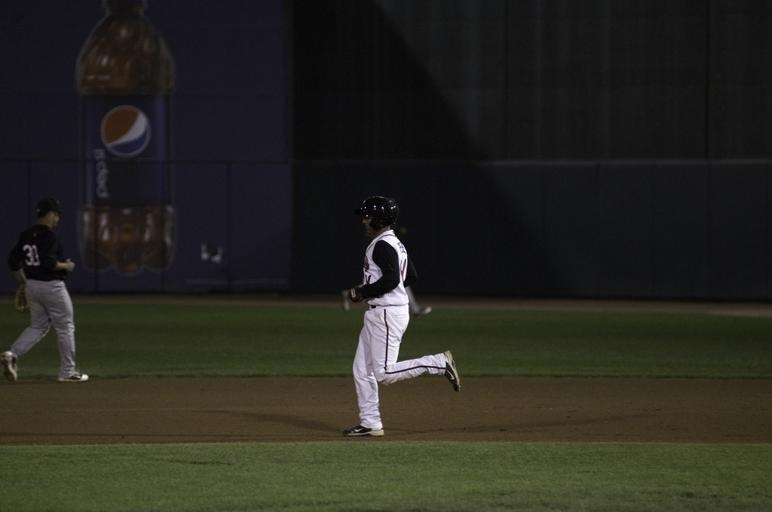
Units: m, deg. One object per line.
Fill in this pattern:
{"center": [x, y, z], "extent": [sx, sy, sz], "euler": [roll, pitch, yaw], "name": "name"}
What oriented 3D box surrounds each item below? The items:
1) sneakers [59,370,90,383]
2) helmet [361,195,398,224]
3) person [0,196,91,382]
{"center": [-6.205, 2.434, 26.589], "extent": [0.587, 0.192, 0.236], "euler": [-2, -2, -11], "name": "sneakers"}
{"center": [-0.128, -0.796, 24.069], "extent": [0.644, 0.408, 0.452], "euler": [-3, 7, 11], "name": "helmet"}
{"center": [-6.747, 0.687, 26.032], "extent": [1.312, 3.537, 0.814], "euler": [0, -3, -13], "name": "person"}
